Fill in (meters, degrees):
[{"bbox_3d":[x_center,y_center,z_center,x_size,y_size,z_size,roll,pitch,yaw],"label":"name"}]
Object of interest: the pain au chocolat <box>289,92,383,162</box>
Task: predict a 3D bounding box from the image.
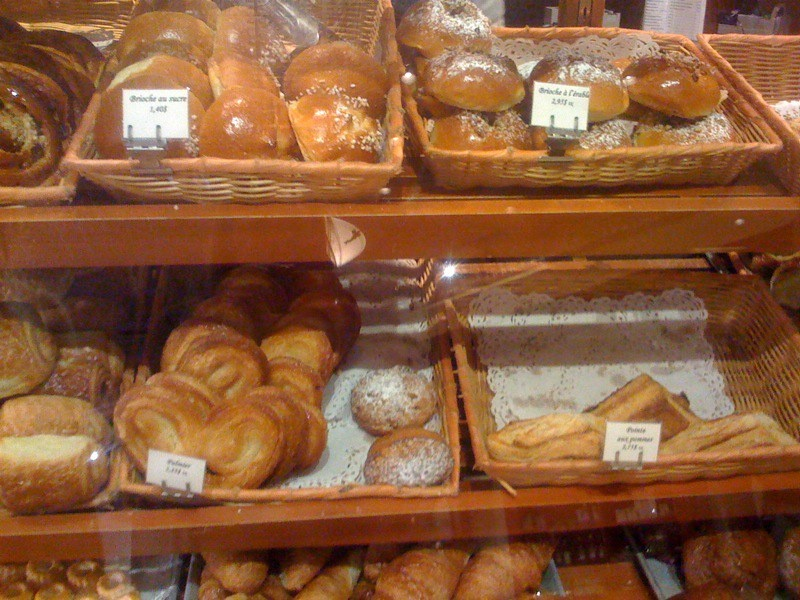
[{"bbox_3d":[-0.148,-0.470,1.600,0.207,0.071,0.232,15,35,-24],"label":"pain au chocolat"}]
